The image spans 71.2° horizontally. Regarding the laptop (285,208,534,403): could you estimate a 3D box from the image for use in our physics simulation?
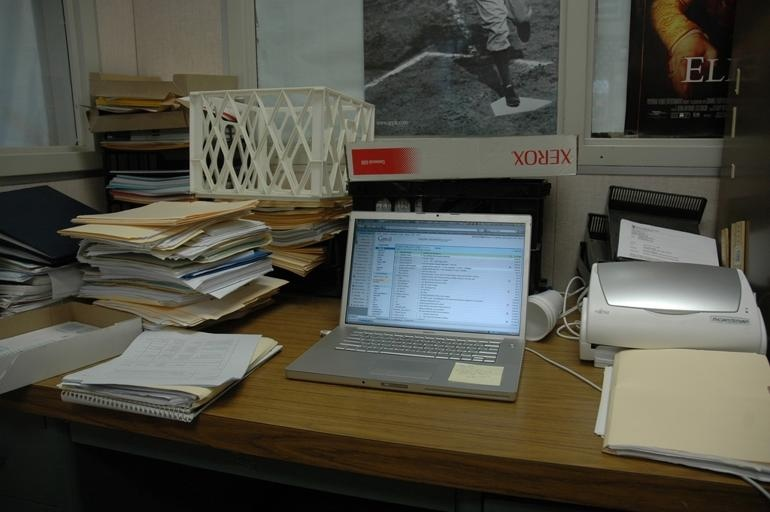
[{"bbox_3d":[0.118,0.107,1.301,0.539,0.285,0.455,2,10,16],"label":"laptop"}]

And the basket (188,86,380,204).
[{"bbox_3d":[-0.327,-0.250,1.642,0.482,0.264,0.447,0,1,2],"label":"basket"}]

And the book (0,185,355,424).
[{"bbox_3d":[-0.562,0.078,1.388,0.695,0.207,0.512,3,13,22],"label":"book"}]
